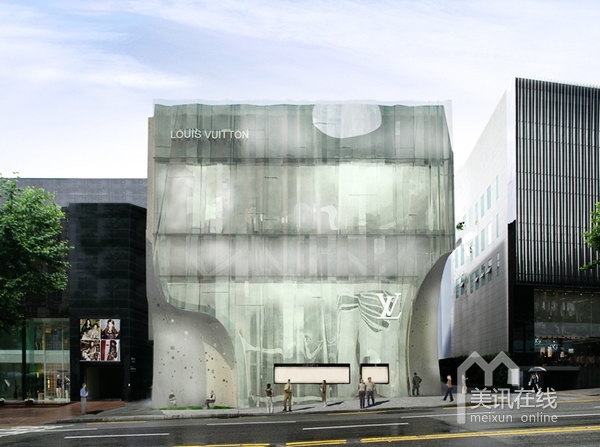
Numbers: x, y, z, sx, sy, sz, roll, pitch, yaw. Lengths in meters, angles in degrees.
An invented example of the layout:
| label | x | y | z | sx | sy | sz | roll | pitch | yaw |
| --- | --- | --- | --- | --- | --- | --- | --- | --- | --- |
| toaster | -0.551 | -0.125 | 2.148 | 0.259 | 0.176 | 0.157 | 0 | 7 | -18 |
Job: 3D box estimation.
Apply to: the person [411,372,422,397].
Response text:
| label | x | y | z | sx | sy | sz | roll | pitch | yaw |
| --- | --- | --- | --- | --- | --- | --- | --- | --- | --- |
| person | 10.321 | 14.246 | 96.125 | 0.916 | 1.937 | 0.335 | 4 | -8 | -31 |

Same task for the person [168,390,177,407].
| label | x | y | z | sx | sy | sz | roll | pitch | yaw |
| --- | --- | --- | --- | --- | --- | --- | --- | --- | --- |
| person | -11.223 | 15.467 | 95.714 | 0.695 | 1.314 | 0.721 | 1 | -7 | -17 |

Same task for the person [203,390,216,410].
| label | x | y | z | sx | sy | sz | roll | pitch | yaw |
| --- | --- | --- | --- | --- | --- | --- | --- | --- | --- |
| person | -7.889 | 15.437 | 95.543 | 0.857 | 1.395 | 1.358 | 0 | -7 | -3 |
